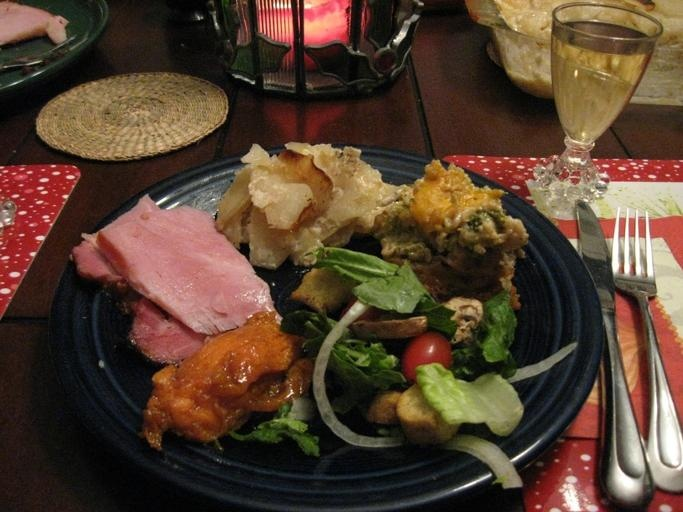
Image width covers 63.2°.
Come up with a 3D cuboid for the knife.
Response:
[{"bbox_3d":[0.561,0.168,1.231,0.116,0.053,0.757,1,41,13],"label":"knife"}]
